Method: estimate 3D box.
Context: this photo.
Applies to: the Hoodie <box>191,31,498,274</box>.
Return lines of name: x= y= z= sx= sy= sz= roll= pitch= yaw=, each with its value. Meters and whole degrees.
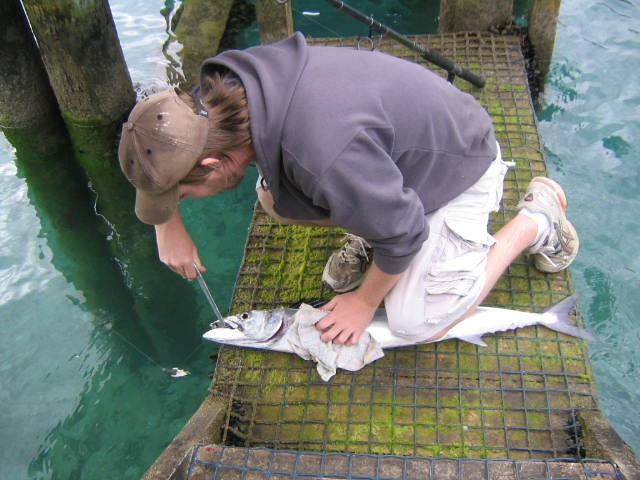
Hoodie: x=0.278 y=-0.441 z=3.484 sx=1.400 sy=1.099 sz=1.269 roll=-3 pitch=64 yaw=-6

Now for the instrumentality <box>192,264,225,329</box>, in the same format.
instrumentality: x=-0.880 y=0.464 z=4.403 sx=0.067 sy=0.551 sz=0.060 roll=-19 pitch=17 yaw=0

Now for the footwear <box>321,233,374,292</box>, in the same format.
footwear: x=0.195 y=0.146 z=3.887 sx=0.464 sy=0.302 sz=0.257 roll=-28 pitch=48 yaw=-36
